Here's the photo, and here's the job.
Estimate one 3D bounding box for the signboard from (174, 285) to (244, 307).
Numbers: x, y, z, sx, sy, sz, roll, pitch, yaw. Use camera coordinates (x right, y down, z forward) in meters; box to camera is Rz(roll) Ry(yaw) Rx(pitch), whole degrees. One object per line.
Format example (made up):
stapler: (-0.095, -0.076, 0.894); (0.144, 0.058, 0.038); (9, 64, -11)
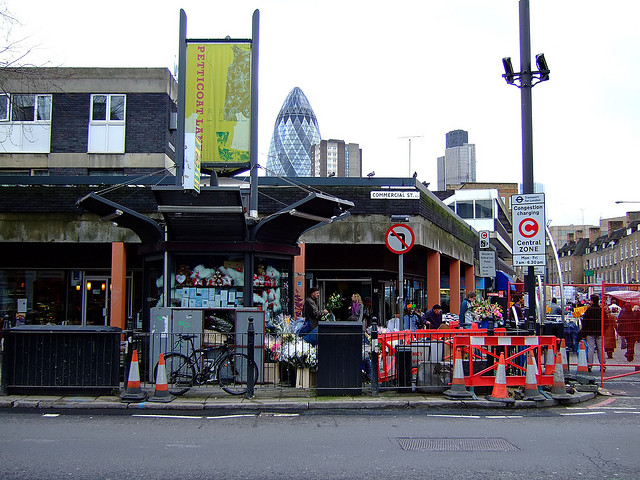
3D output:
signboard: (-2.827, 1.416, 18.566); (1.731, 0.527, 0.270); (-1, -6, 3)

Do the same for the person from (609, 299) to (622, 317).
person: (10.254, 2.361, 25.333); (0.298, 0.663, 2.800); (-3, -7, 22)

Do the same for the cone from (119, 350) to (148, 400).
cone: (-3.890, 2.821, 15.223); (0.548, 1.008, 0.387); (2, -6, -15)

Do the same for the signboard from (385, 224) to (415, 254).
signboard: (2.019, -0.057, 18.470); (0.756, 0.958, 0.080); (5, 35, 8)

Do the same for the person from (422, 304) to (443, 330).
person: (3.413, 2.338, 22.132); (0.520, 0.736, 1.132); (-1, -7, 8)

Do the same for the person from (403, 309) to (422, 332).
person: (2.966, 2.548, 23.328); (0.547, 0.648, 1.224); (-1, -7, 8)

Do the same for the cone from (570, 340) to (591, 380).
cone: (6.502, 3.001, 18.095); (0.664, 1.011, 0.722); (1, -10, 1)

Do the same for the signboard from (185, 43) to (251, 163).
signboard: (-2.886, -3.917, 20.649); (1.806, 3.417, 0.341); (0, -6, -2)

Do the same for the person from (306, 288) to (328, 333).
person: (-0.102, 1.965, 18.772); (0.505, 1.572, 0.598); (1, 18, -1)

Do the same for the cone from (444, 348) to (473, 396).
cone: (2.957, 2.822, 15.566); (0.521, 1.004, 0.486); (2, -6, -15)

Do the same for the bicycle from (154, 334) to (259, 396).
bicycle: (-2.482, 2.901, 16.505); (2.124, 1.440, 1.156); (-2, -2, -1)

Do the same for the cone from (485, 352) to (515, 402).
cone: (3.845, 2.916, 15.532); (0.811, 0.976, 0.876); (6, -11, -5)

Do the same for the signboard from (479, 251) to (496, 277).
signboard: (5.663, 0.785, 24.654); (0.494, 0.884, 0.711); (-1, -6, 12)

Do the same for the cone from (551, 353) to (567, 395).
cone: (5.099, 2.881, 15.661); (0.299, 0.883, 0.472); (-3, -7, 28)

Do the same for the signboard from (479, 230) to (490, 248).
signboard: (5.853, -0.035, 25.908); (0.283, 0.629, 0.793); (-2, -7, 17)

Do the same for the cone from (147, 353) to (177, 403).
cone: (-3.279, 2.869, 15.149); (0.592, 0.993, 0.971); (1, -7, -10)
